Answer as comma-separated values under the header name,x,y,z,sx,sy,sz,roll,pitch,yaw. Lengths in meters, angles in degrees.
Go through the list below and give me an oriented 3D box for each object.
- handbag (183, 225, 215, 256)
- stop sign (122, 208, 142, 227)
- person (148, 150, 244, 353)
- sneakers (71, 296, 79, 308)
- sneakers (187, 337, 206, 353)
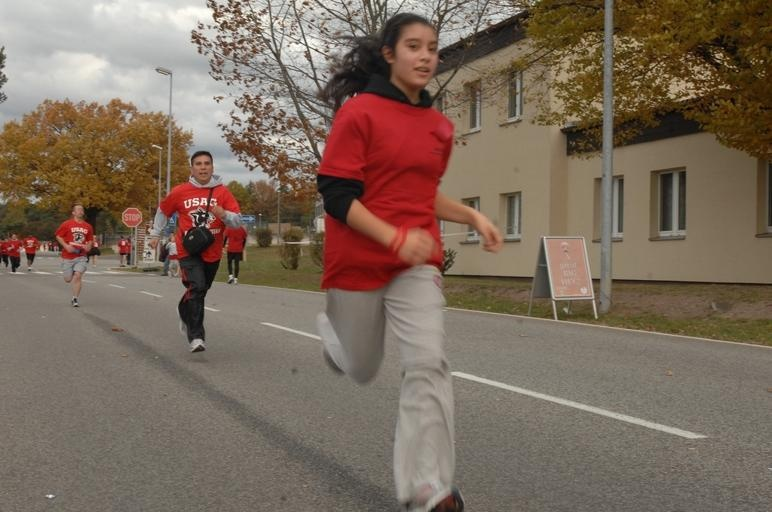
name,x,y,z,sx,sy,sz,roll,pitch,yaw
handbag,-2.639,-0.199,7.276,0.335,0.306,0.181,-36,-4,10
stop sign,-17.596,-2.708,35.746,0.974,1.454,1.025,1,0,-13
person,-2.707,-0.058,7.483,0.928,3.036,1.570,1,0,-40
sneakers,-7.970,1.190,13.200,0.212,0.240,0.626,3,-1,-24
sneakers,-2.677,1.292,7.333,0.174,0.221,0.356,1,-1,-25
